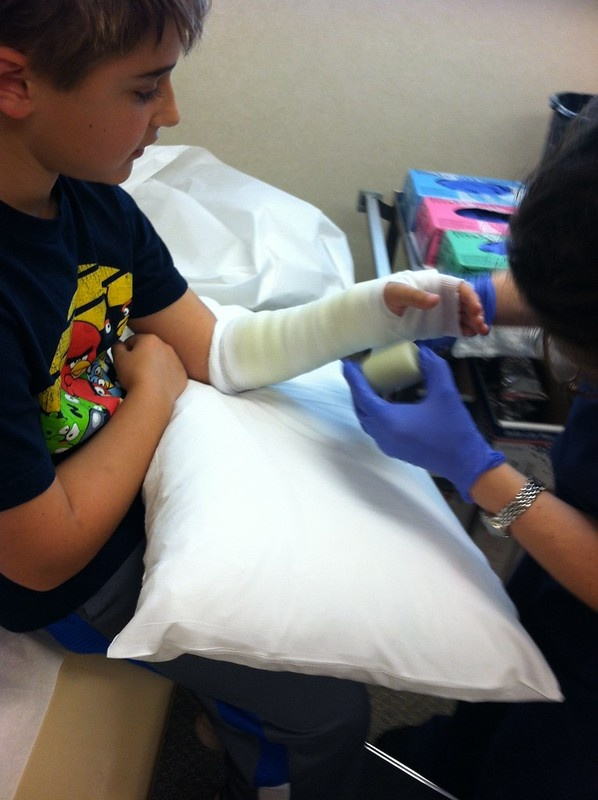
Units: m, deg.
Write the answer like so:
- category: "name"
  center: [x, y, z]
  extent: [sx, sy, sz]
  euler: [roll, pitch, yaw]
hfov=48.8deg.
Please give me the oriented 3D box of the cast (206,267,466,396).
- category: "cast"
  center: [0.023, -0.088, 0.945]
  extent: [0.467, 0.125, 0.133]
  euler: [-9, 17, 18]

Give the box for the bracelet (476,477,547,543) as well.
- category: "bracelet"
  center: [0.242, 0.121, 0.774]
  extent: [0.070, 0.060, 0.030]
  euler: [-43, 57, -10]

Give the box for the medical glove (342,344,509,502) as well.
- category: "medical glove"
  center: [0.163, 0.036, 0.878]
  extent: [0.133, 0.057, 0.215]
  euler: [-32, 54, -4]
